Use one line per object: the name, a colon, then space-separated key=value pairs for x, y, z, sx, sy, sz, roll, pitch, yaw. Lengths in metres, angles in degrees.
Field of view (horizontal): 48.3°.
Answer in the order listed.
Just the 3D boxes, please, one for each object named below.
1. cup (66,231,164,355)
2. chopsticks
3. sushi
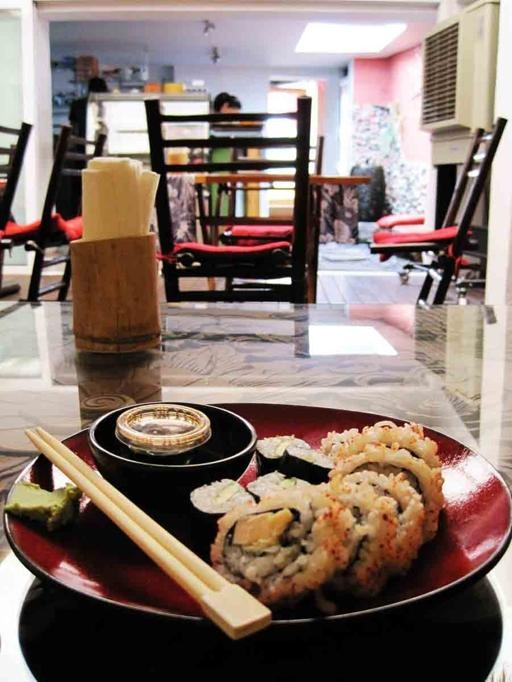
cup: x=-0.172 y=-0.047 z=0.717 sx=0.088 sy=0.177 sz=0.072 roll=3 pitch=12 yaw=20
chopsticks: x=-0.059 y=0.067 z=0.234 sx=0.017 sy=0.025 sz=0.208 roll=-9 pitch=15 yaw=-35
sushi: x=0.024 y=0.056 z=0.218 sx=0.082 sy=0.032 sz=0.060 roll=-22 pitch=35 yaw=-26
